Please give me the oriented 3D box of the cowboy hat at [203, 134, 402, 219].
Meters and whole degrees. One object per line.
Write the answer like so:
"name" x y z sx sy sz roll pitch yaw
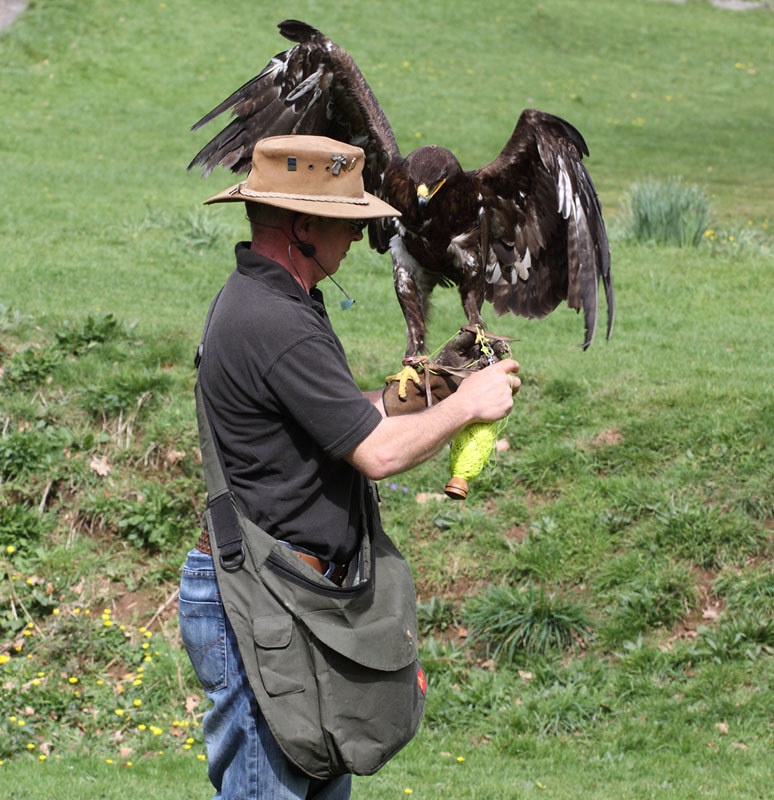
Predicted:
"cowboy hat" -0.422 -1.212 9.898 0.609 0.584 0.741 -13 30 -30

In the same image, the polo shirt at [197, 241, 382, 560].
"polo shirt" -0.485 0.045 10.195 0.988 1.717 1.360 -6 8 -4

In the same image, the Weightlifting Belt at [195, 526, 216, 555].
"Weightlifting Belt" -1.011 0.792 9.880 0.120 0.140 0.129 8 -13 10
